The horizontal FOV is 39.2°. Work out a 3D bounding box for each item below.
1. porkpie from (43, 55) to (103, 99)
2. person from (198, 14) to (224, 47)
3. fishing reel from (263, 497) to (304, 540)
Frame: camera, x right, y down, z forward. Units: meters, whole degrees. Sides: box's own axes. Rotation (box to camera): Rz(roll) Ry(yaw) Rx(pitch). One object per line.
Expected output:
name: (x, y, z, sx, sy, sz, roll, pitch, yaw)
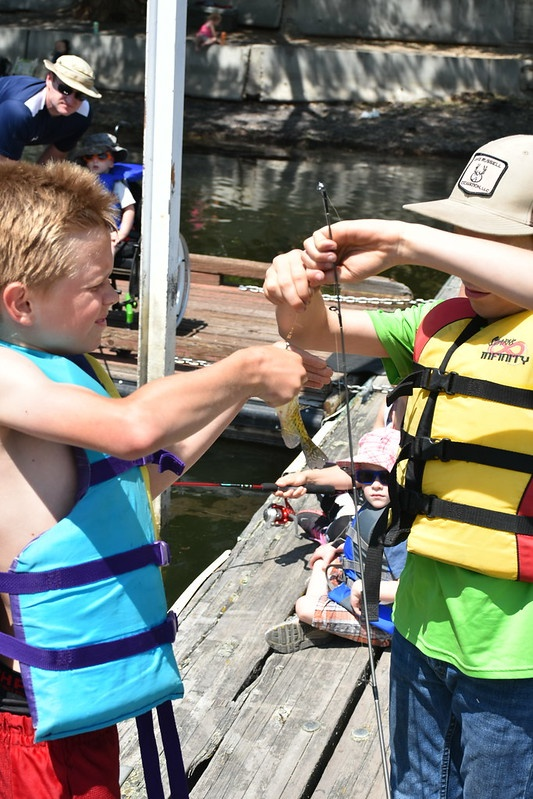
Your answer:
porkpie: (-1.569, -2.646, 6.066, 0.421, 0.190, 0.487, 24, 17, -47)
person: (-1.416, -9.429, 19.098, 0.559, 0.916, 1.094, 4, 16, 12)
fishing reel: (0.063, 0.573, 3.658, 0.206, 0.098, 0.156, 3, 4, 42)
